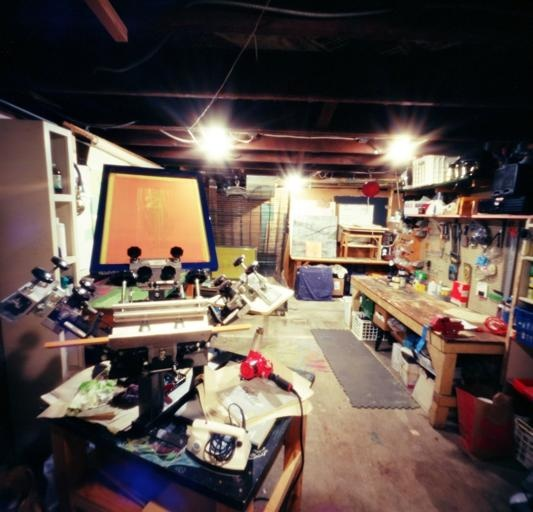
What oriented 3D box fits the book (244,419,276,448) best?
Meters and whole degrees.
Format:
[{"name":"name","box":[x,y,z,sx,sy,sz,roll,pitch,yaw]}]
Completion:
[{"name":"book","box":[-0.035,0.907,2.085,0.102,0.034,0.187,6,17,25]}]

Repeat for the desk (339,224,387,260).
[{"name":"desk","box":[1.812,-0.251,7.617,0.818,0.554,0.734,1,8,0]}]

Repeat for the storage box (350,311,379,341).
[{"name":"storage box","box":[1.269,0.937,5.261,0.267,0.212,0.365,0,0,-1]}]
